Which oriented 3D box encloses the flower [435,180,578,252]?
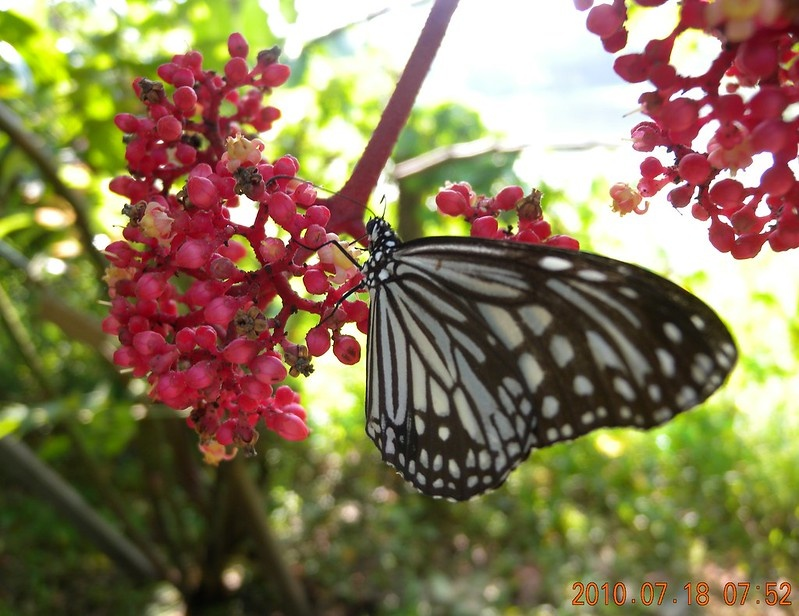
[{"bbox_3d":[0.319,-0.267,2.264,0.337,0.128,0.220,28,-38,13],"label":"flower"}]
